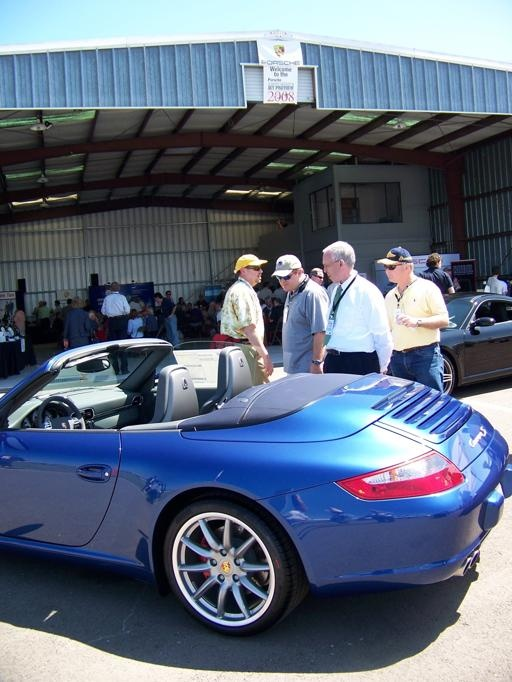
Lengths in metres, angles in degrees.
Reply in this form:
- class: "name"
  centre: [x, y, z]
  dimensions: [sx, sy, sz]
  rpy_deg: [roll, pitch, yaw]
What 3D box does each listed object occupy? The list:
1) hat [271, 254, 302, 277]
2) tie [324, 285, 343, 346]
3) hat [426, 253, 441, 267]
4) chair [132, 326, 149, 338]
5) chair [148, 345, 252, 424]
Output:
- class: "hat"
  centre: [0.225, -0.544, 4.127]
  dimensions: [0.149, 0.114, 0.212]
  rpy_deg: [-2, 6, 32]
- class: "tie"
  centre: [0.518, -0.191, 3.843]
  dimensions: [0.034, 0.335, 0.081]
  rpy_deg: [-1, 14, -38]
- class: "hat"
  centre: [2.462, -1.107, 8.102]
  dimensions: [0.205, 0.227, 0.250]
  rpy_deg: [7, 23, 9]
- class: "chair"
  centre: [-3.128, -0.273, 15.556]
  dimensions: [0.179, 0.297, 0.324]
  rpy_deg: [2, 12, 25]
- class: "chair"
  centre: [-0.259, 0.216, 2.792]
  dimensions: [0.485, 0.434, 0.329]
  rpy_deg: [-2, 3, 27]
